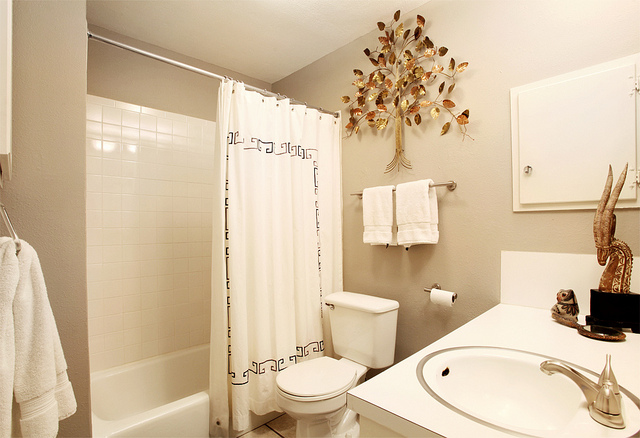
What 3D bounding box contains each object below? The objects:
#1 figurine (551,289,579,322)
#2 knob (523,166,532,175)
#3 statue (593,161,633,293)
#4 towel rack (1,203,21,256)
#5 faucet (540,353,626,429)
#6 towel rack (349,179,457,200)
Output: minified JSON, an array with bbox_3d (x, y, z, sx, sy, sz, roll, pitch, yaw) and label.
[{"bbox_3d":[1.264,0.441,2.204,0.149,0.167,0.114,12,6,41],"label":"figurine"},{"bbox_3d":[1.187,-0.285,2.458,0.027,0.037,0.036,8,19,-3],"label":"knob"},{"bbox_3d":[1.454,0.043,2.111,0.216,0.625,0.138,-4,5,-41],"label":"statue"},{"bbox_3d":[-1.481,0.049,2.051,0.044,0.250,0.043,-14,-4,-21],"label":"towel rack"},{"bbox_3d":[1.060,0.670,1.747,0.324,0.210,0.337,3,0,28],"label":"faucet"},{"bbox_3d":[0.548,-0.203,2.959,0.188,0.116,0.771,-3,3,-40],"label":"towel rack"}]
